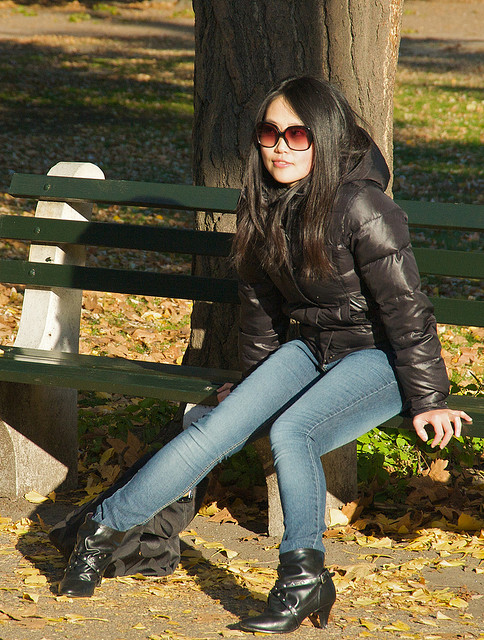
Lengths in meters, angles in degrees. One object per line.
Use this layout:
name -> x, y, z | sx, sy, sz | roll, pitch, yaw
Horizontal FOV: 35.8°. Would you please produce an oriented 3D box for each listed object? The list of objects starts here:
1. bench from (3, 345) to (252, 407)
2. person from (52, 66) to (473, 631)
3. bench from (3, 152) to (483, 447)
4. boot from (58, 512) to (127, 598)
bench -> -0.515, 0.216, 2.897 | 1.009, 0.132, 0.521 | 2, 4, 13
person -> 0.168, 0.043, 2.296 | 0.885, 1.650, 0.799 | 6, 6, 38
bench -> -0.060, -0.042, 3.112 | 2.621, 0.862, 0.997 | 4, 25, 13
boot -> -0.470, 0.723, 2.304 | 0.136, 0.185, 0.311 | 14, 1, 3
